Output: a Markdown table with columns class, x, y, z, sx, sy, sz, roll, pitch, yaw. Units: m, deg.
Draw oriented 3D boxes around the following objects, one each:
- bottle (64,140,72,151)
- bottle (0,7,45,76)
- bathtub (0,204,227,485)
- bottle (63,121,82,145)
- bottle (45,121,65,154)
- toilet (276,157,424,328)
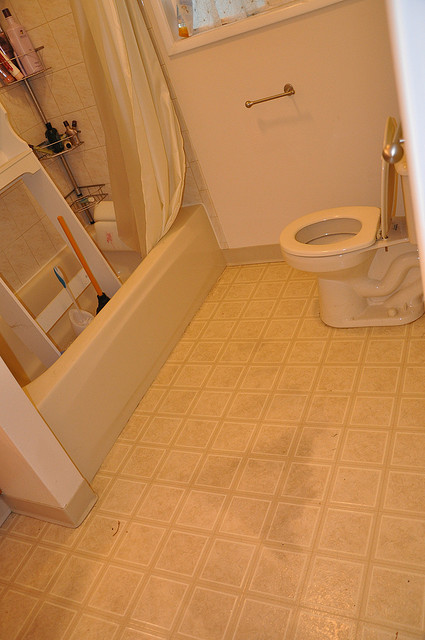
| class | x | y | z | sx | sy | sz | roll | pitch | yaw |
| --- | --- | --- | --- | --- | --- | --- | --- | --- | --- |
| bottle | -0.860 | -1.029 | 2.627 | 0.035 | 0.047 | 0.041 | 8 | 48 | 43 |
| bottle | -1.038 | -1.500 | 2.424 | 0.083 | 0.309 | 0.142 | -5 | 40 | 32 |
| bathtub | -0.448 | 0.110 | 2.069 | 0.513 | 0.389 | 1.316 | 5 | 40 | 24 |
| bottle | -0.833 | -1.104 | 2.642 | 0.026 | 0.114 | 0.110 | -36 | 30 | -24 |
| bottle | -0.943 | -1.075 | 2.651 | 0.087 | 0.166 | 0.223 | -31 | 33 | -5 |
| toilet | 0.616 | -0.456 | 2.148 | 0.704 | 0.827 | 0.505 | -2 | 46 | 26 |
